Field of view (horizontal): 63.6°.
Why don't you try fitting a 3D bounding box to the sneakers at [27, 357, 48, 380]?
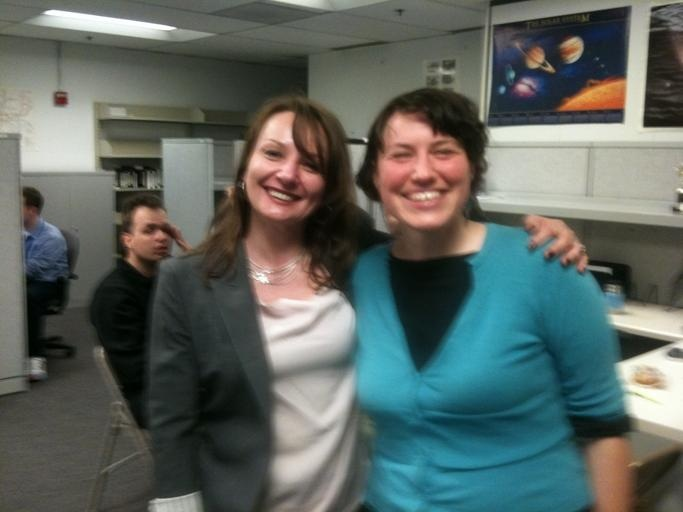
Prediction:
[{"bbox_3d":[-2.170,0.800,3.937,0.194,0.064,0.180,14,38,-35],"label":"sneakers"}]
